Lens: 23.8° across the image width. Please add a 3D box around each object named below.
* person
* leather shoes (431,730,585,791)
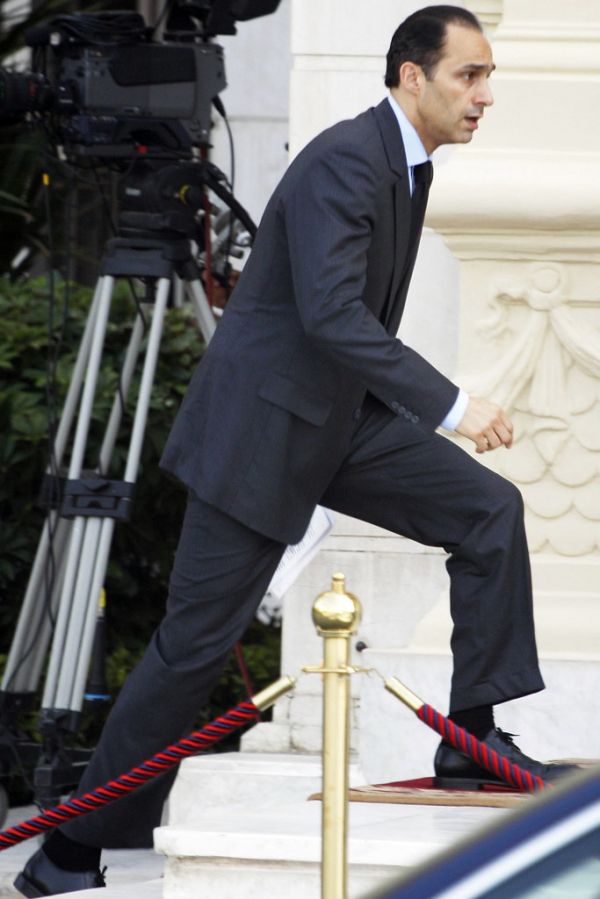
[{"bbox_3d":[0.071,0.094,3.100,0.754,1.873,0.807,10,2,-28],"label":"person"},{"bbox_3d":[0.442,0.657,2.996,0.364,0.132,0.117,-2,-11,5],"label":"leather shoes"}]
